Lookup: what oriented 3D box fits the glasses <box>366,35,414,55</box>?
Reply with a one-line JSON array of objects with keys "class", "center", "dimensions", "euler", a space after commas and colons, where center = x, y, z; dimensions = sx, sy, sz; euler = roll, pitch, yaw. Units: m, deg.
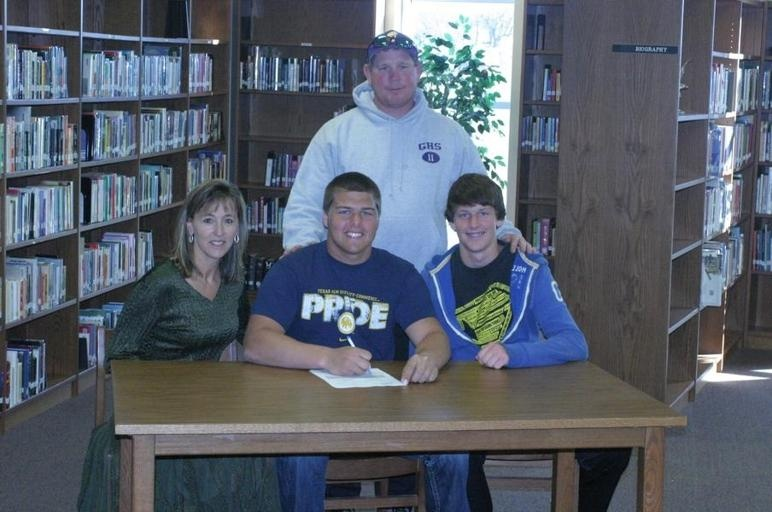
[{"class": "glasses", "center": [0.035, -1.139, 3.909], "dimensions": [0.244, 0.110, 0.125], "euler": [1, 12, -3]}]

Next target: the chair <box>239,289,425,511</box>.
[{"class": "chair", "center": [-0.258, 0.693, 3.606], "dimensions": [1.034, 1.067, 0.797], "euler": [0, 0, -8]}]

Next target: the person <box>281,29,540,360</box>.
[{"class": "person", "center": [0.060, -0.139, 4.200], "dimensions": [1.363, 2.156, 0.741], "euler": [-2, 17, -10]}]
